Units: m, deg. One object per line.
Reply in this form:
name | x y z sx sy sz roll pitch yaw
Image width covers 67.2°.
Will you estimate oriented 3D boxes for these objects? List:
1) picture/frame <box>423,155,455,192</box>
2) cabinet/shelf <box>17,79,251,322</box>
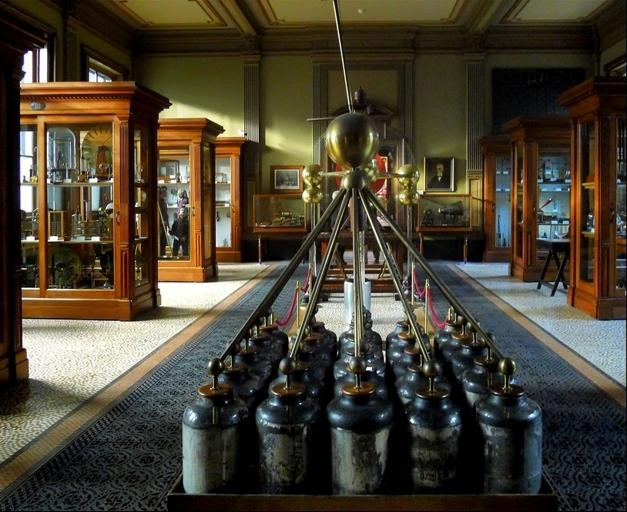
picture/frame | 3.020 -2.001 11.250 0.800 1.073 0.081 0 2 0
cabinet/shelf | -2.511 -0.570 5.295 1.501 2.587 0.767 -3 7 -16
